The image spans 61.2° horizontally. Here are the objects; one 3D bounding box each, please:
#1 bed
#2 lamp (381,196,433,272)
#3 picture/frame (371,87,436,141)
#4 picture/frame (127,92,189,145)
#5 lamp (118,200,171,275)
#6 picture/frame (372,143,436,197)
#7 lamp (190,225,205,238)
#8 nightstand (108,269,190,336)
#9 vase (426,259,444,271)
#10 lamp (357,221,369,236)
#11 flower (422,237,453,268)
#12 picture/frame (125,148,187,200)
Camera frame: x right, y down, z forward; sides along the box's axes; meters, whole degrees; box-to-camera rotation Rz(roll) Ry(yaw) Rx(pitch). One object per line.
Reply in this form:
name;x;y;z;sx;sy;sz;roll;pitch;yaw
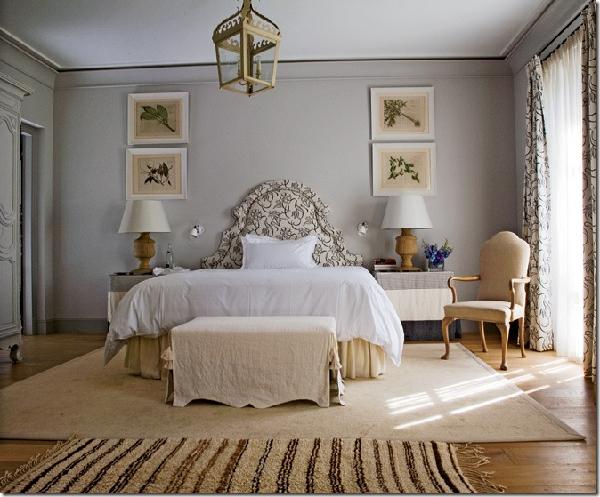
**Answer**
bed;-0.254;0.361;5.181;2.093;1.593;2.077;-1;-5;5
lamp;1.188;-0.147;6.075;0.697;1.153;0.741;1;-6;-4
picture/frame;1.267;-1.627;6.187;0.547;0.543;0.046;0;-1;2
picture/frame;-1.747;-1.614;6.304;0.563;0.556;0.047;0;-1;4
lamp;-1.791;-0.085;6.230;0.703;1.105;0.746;1;-5;-5
picture/frame;1.281;-0.940;6.165;0.592;0.566;0.047;0;3;2
lamp;-1.266;-0.204;6.220;0.126;0.148;0.046;-4;-7;-4
nightstand;-1.891;0.480;5.890;0.845;0.670;0.644;-1;-3;-1
vase;1.538;0.214;5.829;0.125;0.108;0.137;0;-7;10
lamp;0.741;-0.215;6.146;0.152;0.232;0.125;4;-7;-9
flower;1.596;0.068;5.909;0.306;0.345;0.337;-1;0;10
picture/frame;-1.760;-0.924;6.288;0.556;0.554;0.053;0;-2;4
